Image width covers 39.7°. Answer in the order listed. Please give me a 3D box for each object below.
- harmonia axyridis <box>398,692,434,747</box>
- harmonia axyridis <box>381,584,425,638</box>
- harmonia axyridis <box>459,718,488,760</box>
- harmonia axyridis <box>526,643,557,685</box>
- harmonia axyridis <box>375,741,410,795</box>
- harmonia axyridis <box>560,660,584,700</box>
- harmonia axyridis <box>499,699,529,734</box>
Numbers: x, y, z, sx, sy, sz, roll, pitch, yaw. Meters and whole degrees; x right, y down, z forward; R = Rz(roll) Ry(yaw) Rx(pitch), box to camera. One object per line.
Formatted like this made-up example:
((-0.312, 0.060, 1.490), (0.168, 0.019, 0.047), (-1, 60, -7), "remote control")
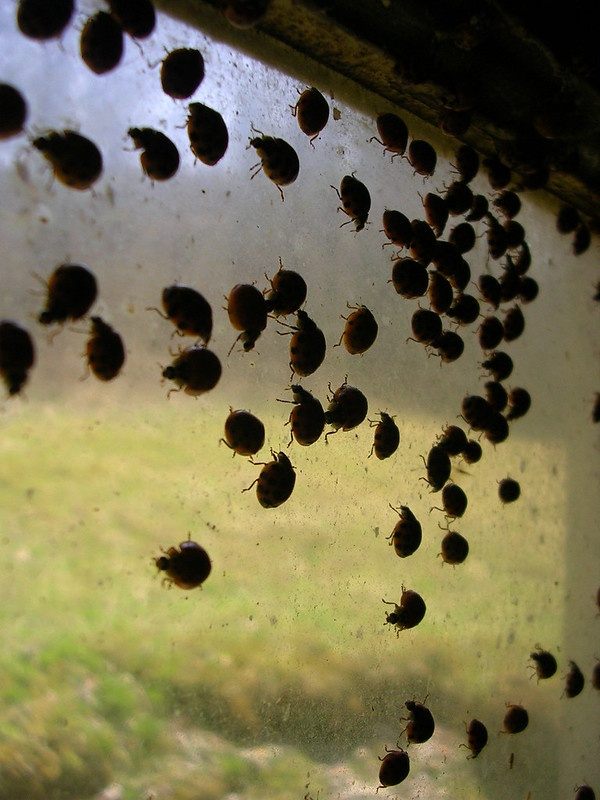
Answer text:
((0.387, 1.040, 2.716), (0.147, 0.136, 0.047), (-1, -6, -44), "harmonia axyridis")
((0.342, 0.683, 2.688), (0.040, 0.148, 0.137), (-9, -84, 55), "harmonia axyridis")
((0.605, 1.157, 2.869), (0.041, 0.134, 0.126), (11, -74, 25), "harmonia axyridis")
((0.900, 0.977, 3.106), (0.119, 0.126, 0.045), (-5, 2, -32), "harmonia axyridis")
((0.300, 1.168, 2.645), (0.043, 0.122, 0.118), (7, -50, 40), "harmonia axyridis")
((1.070, 1.086, 3.247), (0.109, 0.134, 0.042), (31, -22, -32), "harmonia axyridis")
((0.775, 1.154, 3.009), (0.073, 0.128, 0.094), (21, -49, 29), "harmonia axyridis")
